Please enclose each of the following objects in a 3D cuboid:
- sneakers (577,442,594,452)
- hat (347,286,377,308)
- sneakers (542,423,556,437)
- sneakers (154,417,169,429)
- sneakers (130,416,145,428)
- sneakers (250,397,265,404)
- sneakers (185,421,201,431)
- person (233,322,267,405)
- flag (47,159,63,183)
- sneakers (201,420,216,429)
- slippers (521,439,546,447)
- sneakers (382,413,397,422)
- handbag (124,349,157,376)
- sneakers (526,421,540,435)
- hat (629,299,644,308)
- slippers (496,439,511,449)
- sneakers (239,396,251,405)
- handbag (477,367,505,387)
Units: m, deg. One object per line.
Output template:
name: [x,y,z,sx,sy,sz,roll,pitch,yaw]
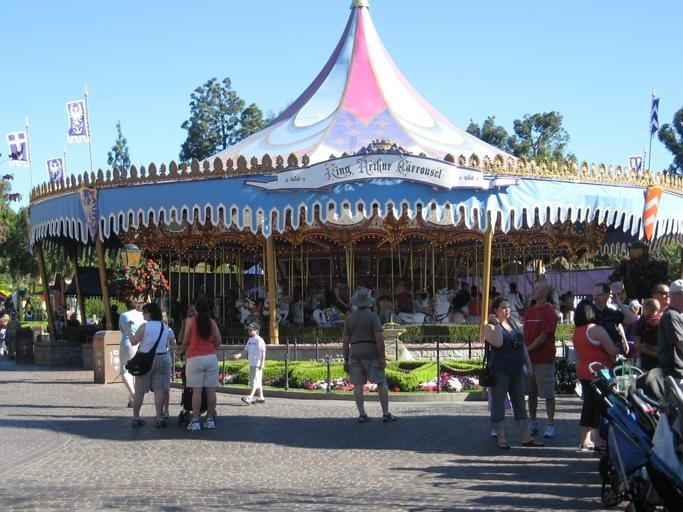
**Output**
sneakers: [3.859,3.051,14.831,0.104,0.121,0.284,1,-8,-11]
hat: [0.431,0.983,22.012,0.677,0.465,1.001,0,5,1]
sneakers: [3.532,2.978,15.965,0.129,0.180,0.410,1,3,11]
sneakers: [-3.275,3.060,17.188,0.114,0.170,0.366,1,-1,4]
sneakers: [-3.723,3.042,17.122,0.284,0.221,0.103,-7,10,-35]
sneakers: [-1.797,3.139,20.154,0.252,0.122,0.099,6,-14,-10]
sneakers: [-2.661,3.079,16.962,0.118,0.160,0.340,2,1,-22]
person: [-1.997,2.348,20.837,0.575,1.701,2.164,-1,-2,-6]
flag: [-11.268,-3.428,37.125,0.606,0.822,1.232,-1,-2,-18]
sneakers: [-2.393,3.055,17.059,0.217,0.163,0.355,-1,-2,-8]
slippers: [3.090,3.021,15.155,0.329,0.139,0.132,-3,0,10]
sneakers: [0.891,3.028,17.429,0.251,0.125,0.116,-2,0,-14]
handbag: [-3.599,1.951,16.893,0.335,0.218,0.491,-8,34,19]
sneakers: [3.291,3.018,16.241,0.115,0.171,0.362,-6,-19,18]
hat: [5.923,0.943,19.024,0.247,0.146,0.175,11,6,-37]
slippers: [2.604,3.037,15.066,0.200,0.148,0.247,-2,-2,12]
sneakers: [-2.014,3.082,19.827,0.163,0.105,0.249,-4,-31,42]
handbag: [2.370,2.066,15.124,0.416,0.415,0.238,-1,-23,6]
